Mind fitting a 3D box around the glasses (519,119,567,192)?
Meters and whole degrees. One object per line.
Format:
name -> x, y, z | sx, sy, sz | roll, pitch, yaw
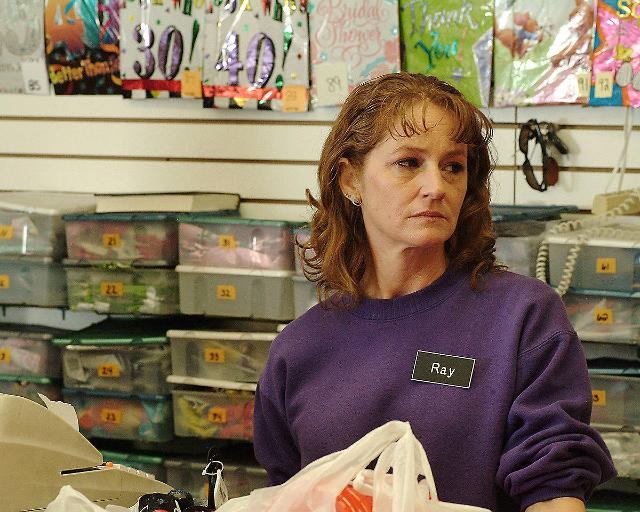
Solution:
glasses -> 0.997, -0.449, 2.902 | 0.172, 0.307, 0.218 | -7, 17, -3
